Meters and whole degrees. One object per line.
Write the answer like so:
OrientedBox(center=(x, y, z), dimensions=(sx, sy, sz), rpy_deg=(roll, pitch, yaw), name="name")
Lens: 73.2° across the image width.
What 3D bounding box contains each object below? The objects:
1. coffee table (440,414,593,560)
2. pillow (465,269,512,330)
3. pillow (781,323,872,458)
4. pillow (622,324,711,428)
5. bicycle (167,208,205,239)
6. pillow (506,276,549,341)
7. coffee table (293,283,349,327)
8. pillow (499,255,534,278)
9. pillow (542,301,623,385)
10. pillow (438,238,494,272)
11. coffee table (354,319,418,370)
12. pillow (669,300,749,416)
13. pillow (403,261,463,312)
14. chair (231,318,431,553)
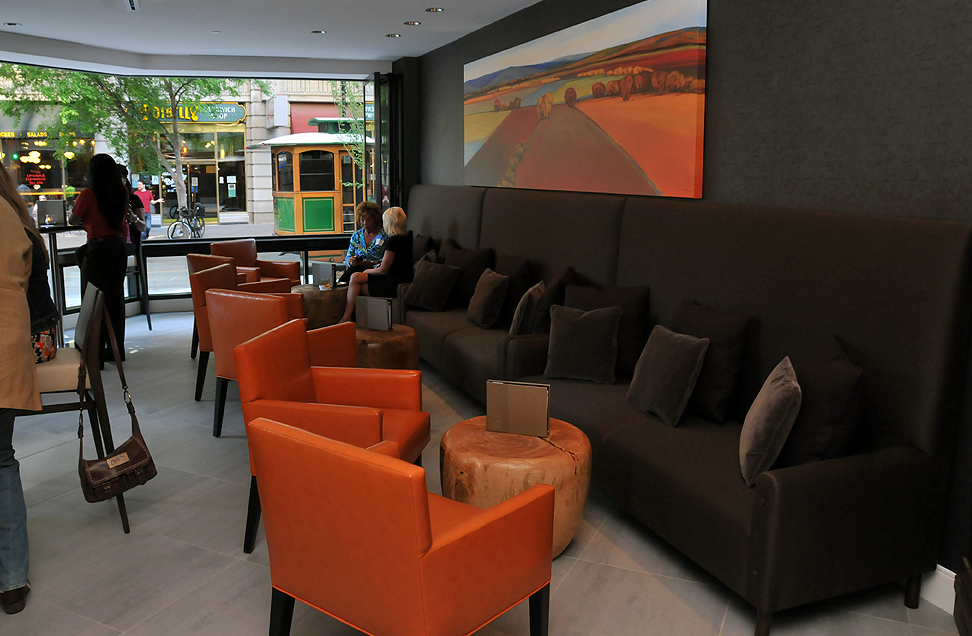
OrientedBox(center=(0.152, 1.021, 4.014), dimensions=(0.846, 0.626, 0.848), rpy_deg=(5, 12, 21), name="coffee table")
OrientedBox(center=(-0.025, -0.155, 6.503), dimensions=(0.265, 0.443, 0.518), rpy_deg=(-2, 1, -15), name="pillow")
OrientedBox(center=(1.890, 0.465, 3.676), dimensions=(0.376, 0.646, 0.634), rpy_deg=(6, 16, 29), name="pillow")
OrientedBox(center=(1.194, 0.367, 4.308), dimensions=(0.180, 0.545, 0.582), rpy_deg=(23, 3, -28), name="pillow")
OrientedBox(center=(-4.261, -1.342, 9.363), dimensions=(0.550, 0.549, 0.288), rpy_deg=(1, 7, -21), name="bicycle")
OrientedBox(center=(0.381, -0.071, 5.800), dimensions=(0.169, 0.387, 0.457), rpy_deg=(11, 17, 19), name="pillow")
OrientedBox(center=(-1.739, -0.131, 6.987), dimensions=(0.690, 0.478, 0.371), rpy_deg=(-1, 3, -45), name="coffee table")
OrientedBox(center=(0.305, -0.498, 6.441), dimensions=(0.082, 0.153, 0.233), rpy_deg=(4, 6, -43), name="pillow")
OrientedBox(center=(0.737, 0.212, 4.925), dimensions=(0.570, 0.551, 0.197), rpy_deg=(3, -11, 21), name="pillow")
OrientedBox(center=(-0.189, -0.682, 7.109), dimensions=(0.165, 0.381, 0.551), rpy_deg=(2, 3, -43), name="pillow")
OrientedBox(center=(-0.883, 0.244, 5.812), dimensions=(0.605, 0.384, 0.603), rpy_deg=(-4, 27, -12), name="coffee table")
OrientedBox(center=(1.472, 0.292, 4.307), dimensions=(0.225, 0.608, 0.606), rpy_deg=(15, 2, -39), name="pillow")
OrientedBox(center=(-0.546, -0.318, 6.956), dimensions=(0.529, 0.535, 0.215), rpy_deg=(17, -4, 33), name="pillow")
OrientedBox(center=(-0.905, 0.736, 4.090), dimensions=(1.203, 1.181, 1.214), rpy_deg=(12, 14, 39), name="chair")
